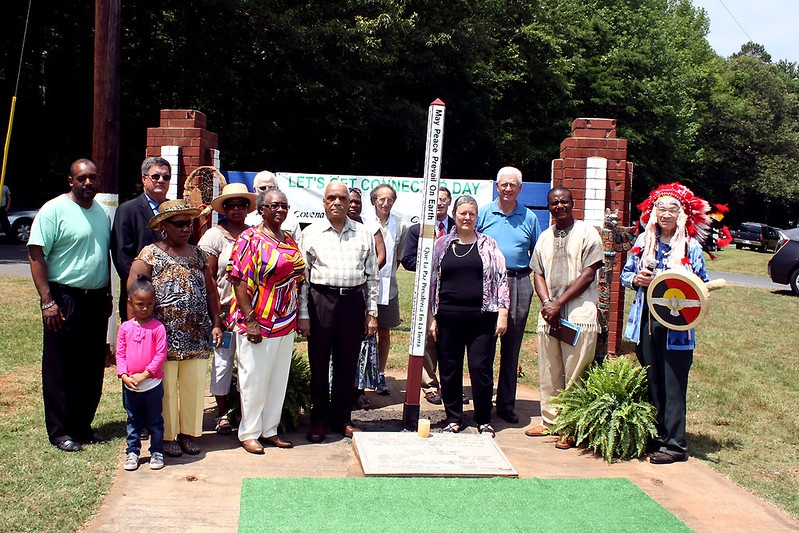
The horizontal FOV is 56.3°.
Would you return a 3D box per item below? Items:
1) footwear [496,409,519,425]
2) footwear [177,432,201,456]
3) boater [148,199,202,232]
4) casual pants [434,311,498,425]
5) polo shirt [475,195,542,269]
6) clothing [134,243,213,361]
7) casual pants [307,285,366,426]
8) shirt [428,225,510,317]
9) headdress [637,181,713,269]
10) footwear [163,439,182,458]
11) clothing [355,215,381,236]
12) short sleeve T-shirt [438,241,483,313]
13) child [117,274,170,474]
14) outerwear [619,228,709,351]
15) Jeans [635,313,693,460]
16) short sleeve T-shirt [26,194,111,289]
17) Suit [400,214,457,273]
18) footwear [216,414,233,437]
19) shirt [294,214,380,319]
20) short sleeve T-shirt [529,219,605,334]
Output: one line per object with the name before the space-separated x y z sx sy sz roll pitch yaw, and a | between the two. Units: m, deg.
footwear | 1.484 2.049 10.218 0.126 0.145 0.330 1 -1 -39
footwear | -2.527 2.129 8.982 0.140 0.146 0.355 -1 7 -34
boater | -2.718 -0.579 8.905 0.570 0.369 0.374 6 15 13
casual pants | 0.862 1.175 9.745 0.808 1.873 0.663 -5 18 18
polo shirt | 1.453 -0.398 10.279 0.900 0.908 0.523 4 18 4
clothing | -2.662 0.423 9.019 0.568 1.353 0.777 0 2 44
casual pants | -0.871 1.180 9.618 0.752 1.956 0.582 -2 10 -30
shirt | 0.873 0.075 9.780 1.044 1.106 0.578 -1 0 6
headdress | 3.593 -0.565 9.339 0.919 0.968 0.253 -10 13 33
footwear | -2.713 2.154 8.852 0.204 0.167 0.414 3 -5 -21
clothing | -0.427 -0.525 9.990 0.358 0.481 0.259 0 -3 -7
short sleeve T-shirt | 0.814 0.146 9.774 0.614 0.856 0.514 -2 9 -10
child | -2.946 1.236 8.551 0.545 2.092 0.626 -3 15 -20
outerwear | 3.410 0.235 9.534 1.131 1.884 0.700 10 47 28
Jeans | 3.297 1.473 9.270 0.522 1.731 0.717 1 14 -7
short sleeve T-shirt | -3.955 -0.295 9.184 0.655 1.144 1.149 3 3 33
Suit | 0.211 -0.323 10.564 0.743 0.754 0.275 2 6 -9
footwear | -2.242 2.026 9.514 0.209 0.161 0.532 1 -5 -18
shirt | -0.806 -0.009 9.467 1.004 1.261 0.625 5 -4 -9
short sleeve T-shirt | 2.165 0.163 9.731 0.911 1.444 0.542 5 14 11
